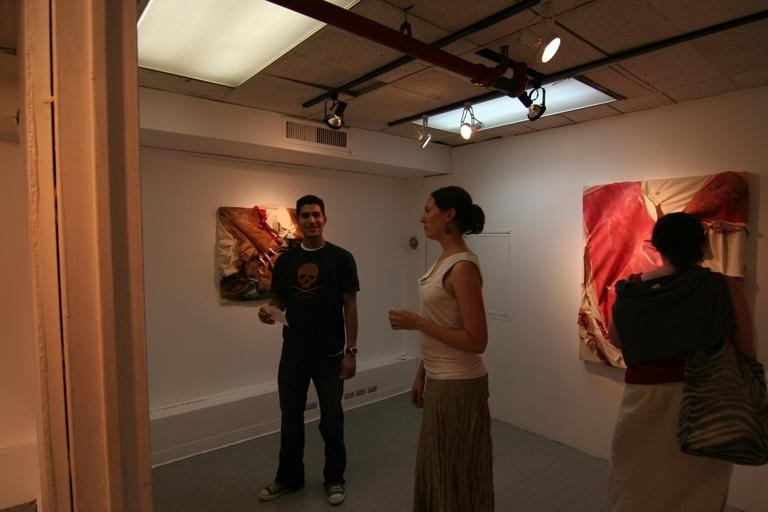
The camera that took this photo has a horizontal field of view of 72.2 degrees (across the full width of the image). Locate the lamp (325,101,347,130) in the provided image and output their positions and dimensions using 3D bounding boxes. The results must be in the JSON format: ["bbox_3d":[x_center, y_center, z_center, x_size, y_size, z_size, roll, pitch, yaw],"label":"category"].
[{"bbox_3d":[-0.351,-1.027,3.808,0.136,0.201,0.384,0,6,-7],"label":"lamp"}]

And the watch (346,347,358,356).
[{"bbox_3d":[-0.204,0.610,3.384,0.091,0.056,0.091,0,-12,-7],"label":"watch"}]

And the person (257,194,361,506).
[{"bbox_3d":[-0.473,0.590,3.412,0.595,1.948,0.355,1,6,4],"label":"person"}]

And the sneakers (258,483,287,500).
[{"bbox_3d":[-0.718,1.522,3.400,0.185,0.076,0.072,10,-9,-30],"label":"sneakers"}]

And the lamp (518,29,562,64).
[{"bbox_3d":[0.814,-1.093,2.682,0.051,0.218,0.150,-52,-6,-34],"label":"lamp"}]
